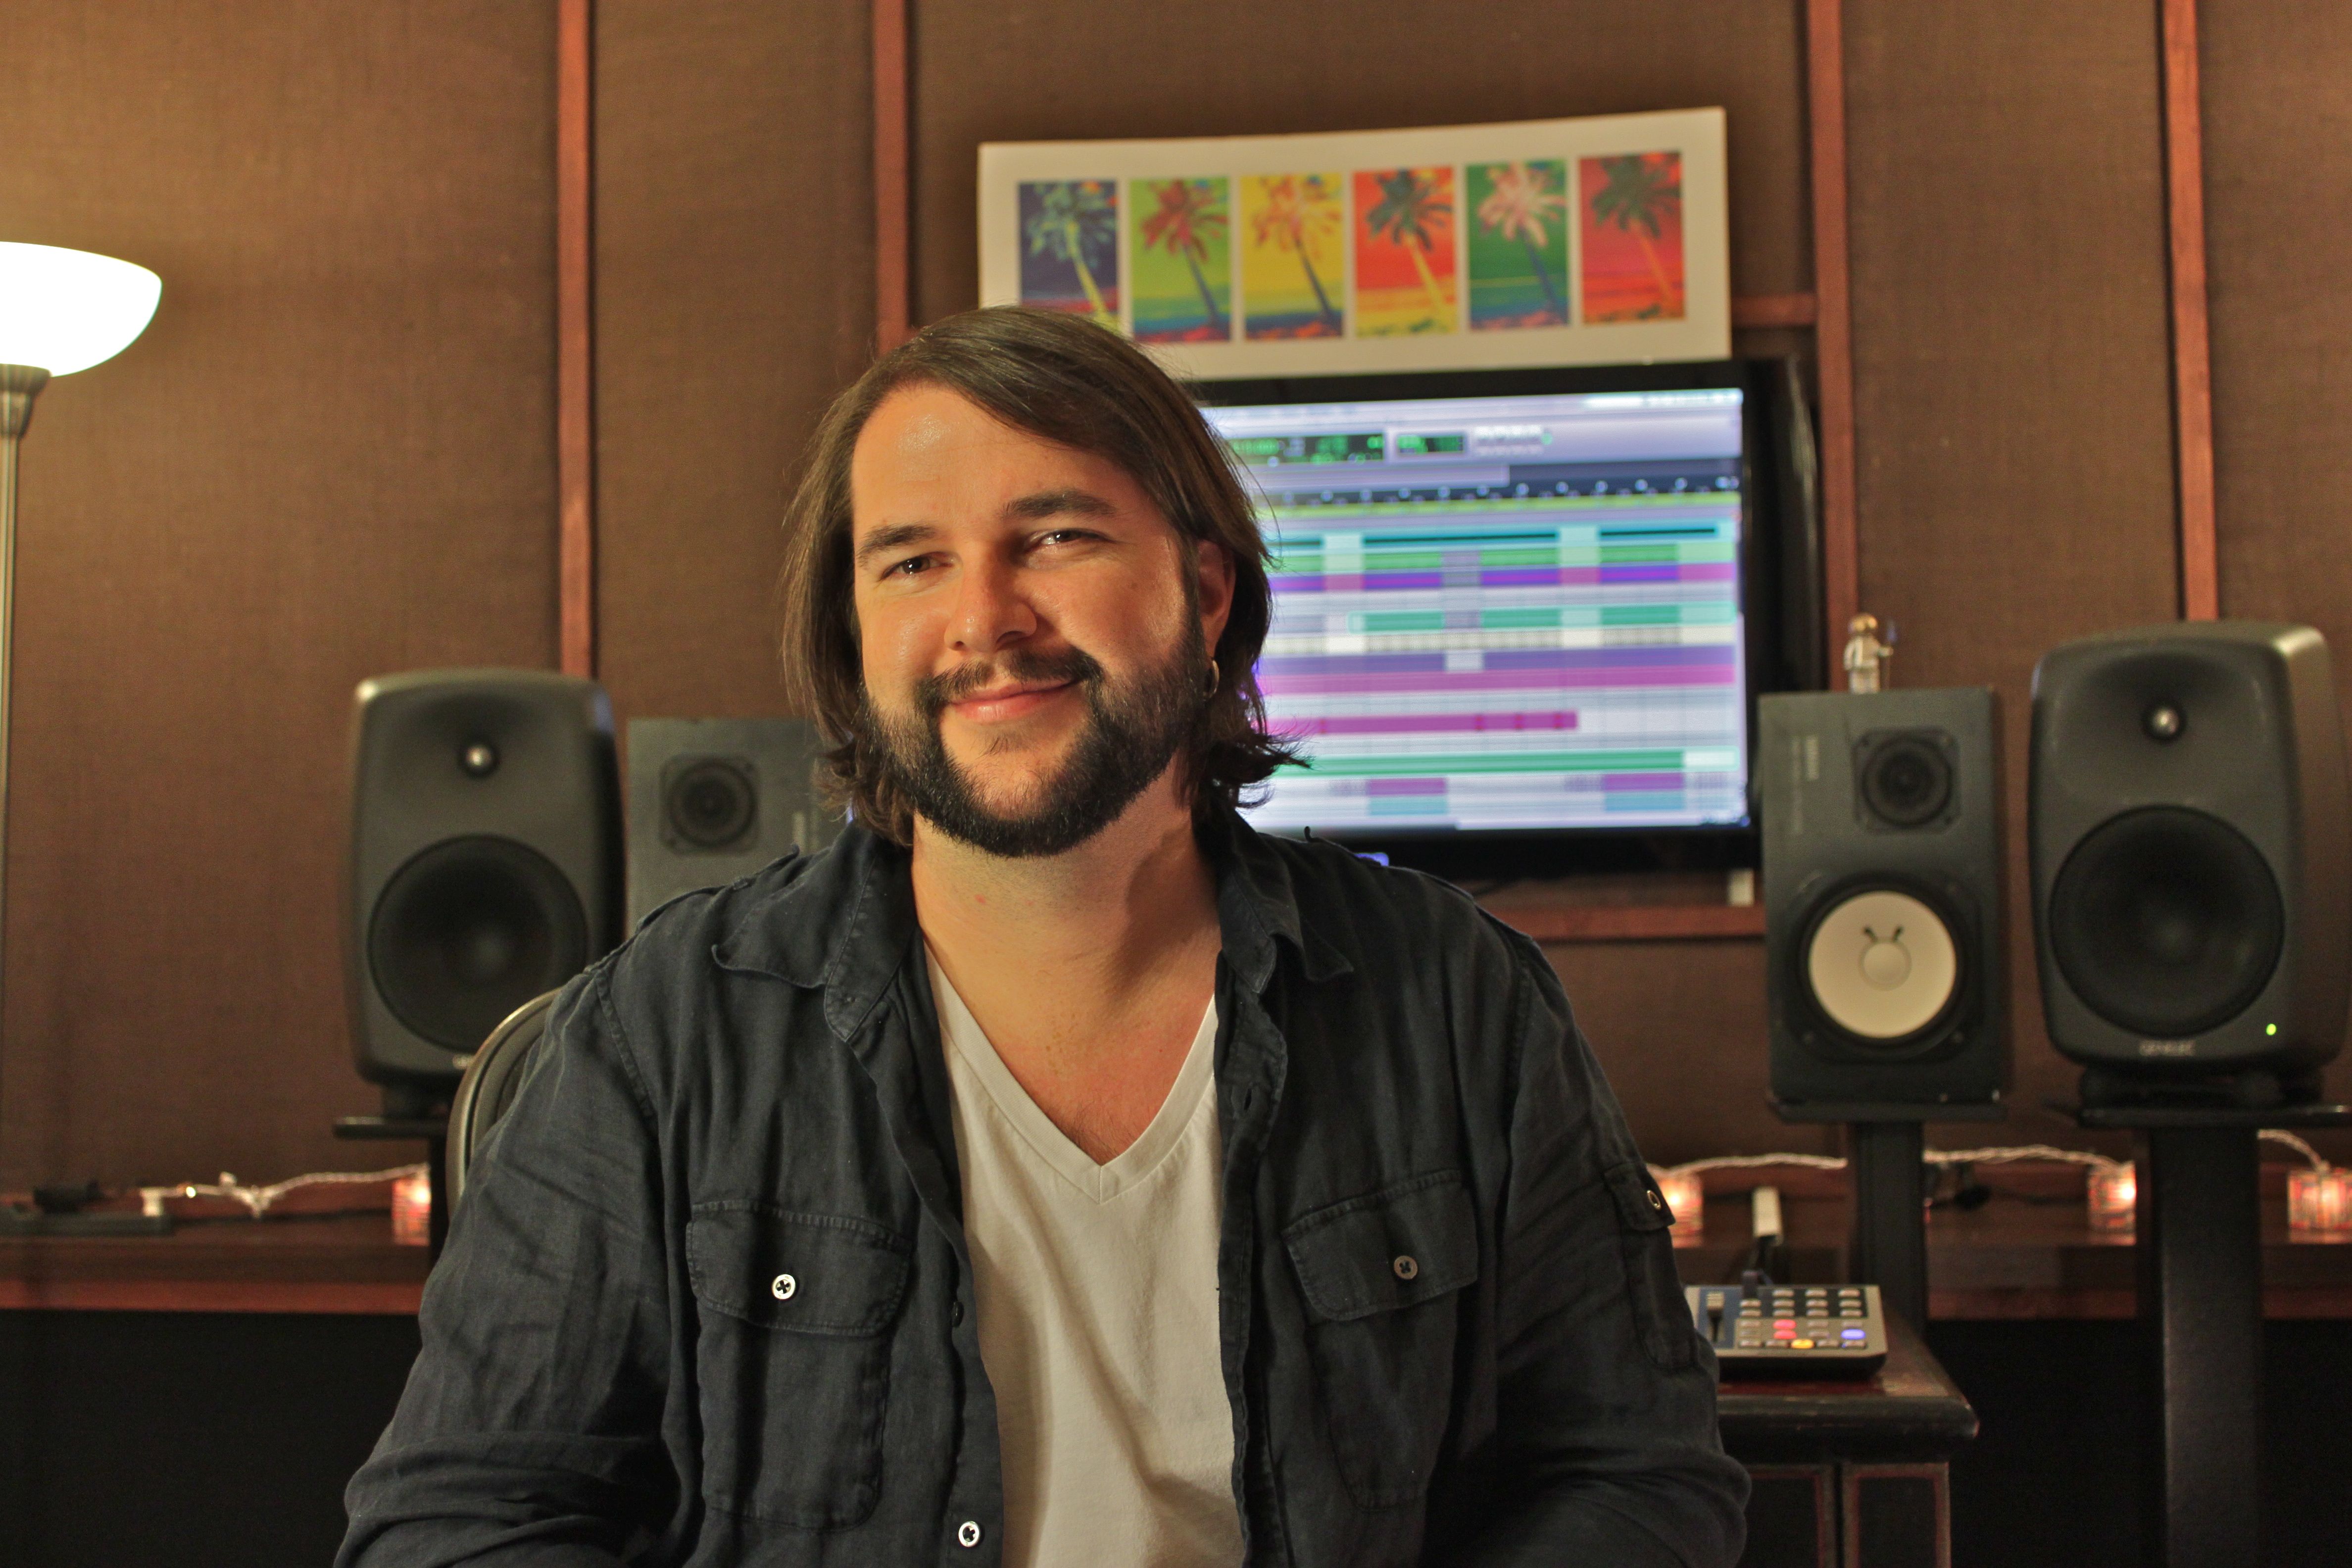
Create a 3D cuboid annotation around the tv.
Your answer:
[{"bbox_3d":[0.607,-0.294,4.758,0.974,0.730,0.098,-1,-2,7],"label":"tv"}]
